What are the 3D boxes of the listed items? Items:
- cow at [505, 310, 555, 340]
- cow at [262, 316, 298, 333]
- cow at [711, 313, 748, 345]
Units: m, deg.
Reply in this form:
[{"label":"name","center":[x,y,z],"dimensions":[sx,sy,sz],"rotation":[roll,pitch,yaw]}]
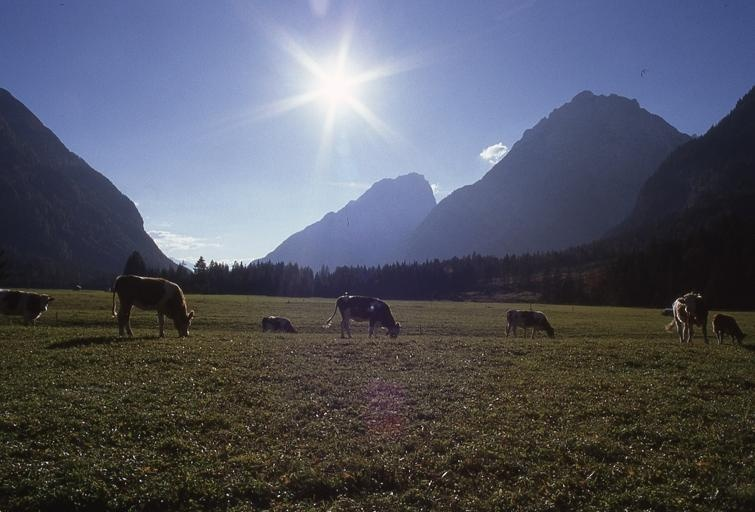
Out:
[{"label":"cow","center":[11.605,5.179,41.604],"dimensions":[3.189,2.153,5.050],"rotation":[0,1,15]},{"label":"cow","center":[-8.506,5.920,46.124],"dimensions":[2.712,1.037,4.696],"rotation":[0,1,-17]},{"label":"cow","center":[21.671,4.533,33.404],"dimensions":[2.368,1.793,1.214],"rotation":[0,0,-31]}]
